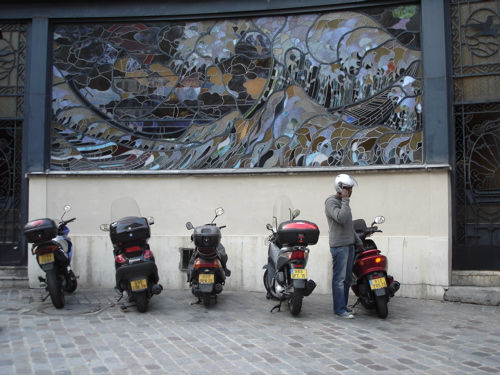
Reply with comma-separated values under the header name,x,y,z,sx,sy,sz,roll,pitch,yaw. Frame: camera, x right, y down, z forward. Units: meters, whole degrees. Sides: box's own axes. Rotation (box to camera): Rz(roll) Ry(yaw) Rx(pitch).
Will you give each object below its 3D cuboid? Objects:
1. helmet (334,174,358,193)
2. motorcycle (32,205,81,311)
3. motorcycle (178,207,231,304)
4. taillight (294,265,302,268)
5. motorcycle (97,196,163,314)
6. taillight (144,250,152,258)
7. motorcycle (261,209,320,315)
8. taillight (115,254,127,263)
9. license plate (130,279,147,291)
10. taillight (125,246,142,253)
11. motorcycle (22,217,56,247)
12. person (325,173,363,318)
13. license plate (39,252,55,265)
name,x,y,z,sx,sy,sz,roll,pitch,yaw
helmet,1.761,-0.065,14.214,0.377,0.306,0.293,9,15,35
motorcycle,-3.846,1.383,15.252,0.727,1.994,2.053,-2,12,-10
motorcycle,-0.819,1.521,14.941,0.807,1.633,1.004,1,11,1
taillight,0.892,1.432,14.127,0.136,0.042,0.039,-5,13,-24
motorcycle,-2.384,1.360,14.973,0.957,2.125,1.985,-3,12,-18
taillight,-1.935,1.239,14.443,0.115,0.062,0.168,-1,8,-5
motorcycle,0.733,1.428,15.238,0.878,1.845,2.753,1,0,-10
taillight,-2.417,1.318,14.335,0.177,0.127,0.260,-4,12,-21
license plate,-2.080,1.779,14.186,0.208,0.160,0.030,-1,-13,-12
taillight,-2.207,1.159,14.433,0.284,0.106,0.053,-2,12,-13
motorcycle,-3.979,0.779,14.592,0.489,0.373,0.488,-23,-3,21
person,1.715,1.083,14.275,0.660,2.625,0.765,3,12,14
license plate,-3.856,1.338,14.505,0.276,0.202,0.066,-3,12,-16
